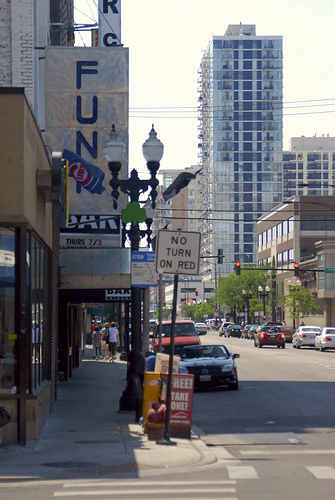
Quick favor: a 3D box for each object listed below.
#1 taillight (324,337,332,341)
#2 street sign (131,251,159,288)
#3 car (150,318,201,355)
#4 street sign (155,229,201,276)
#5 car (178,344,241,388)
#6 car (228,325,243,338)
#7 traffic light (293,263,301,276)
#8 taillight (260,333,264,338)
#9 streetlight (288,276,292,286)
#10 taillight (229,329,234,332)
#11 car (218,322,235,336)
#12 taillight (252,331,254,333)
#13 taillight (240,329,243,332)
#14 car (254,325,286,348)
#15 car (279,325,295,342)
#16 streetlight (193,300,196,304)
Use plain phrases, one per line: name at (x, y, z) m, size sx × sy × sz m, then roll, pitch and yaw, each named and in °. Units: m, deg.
taillight at (7.592, 4.245, 46.463) m, size 0.312 × 0.165 × 0.130 m, roll 1°, pitch -3°, yaw 3°
street sign at (-0.415, 0.331, 16.992) m, size 0.552 × 0.649 × 0.559 m, roll 0°, pitch -3°, yaw 12°
car at (0.380, 2.872, 32.484) m, size 0.995 × 1.015 × 1.759 m, roll 0°, pitch -10°, yaw -6°
street sign at (0.138, 0.023, 13.284) m, size 0.610 × 0.754 × 0.064 m, roll 2°, pitch 32°, yaw -3°
car at (0.948, 2.698, 22.533) m, size 1.138 × 0.815 × 2.427 m, roll -1°, pitch -11°, yaw 1°
car at (5.752, 6.940, 83.277) m, size 1.251 × 0.864 × 3.193 m, roll 1°, pitch -4°, yaw 4°
traffic light at (8.392, 1.290, 63.515) m, size 0.399 × 0.971 × 1.660 m, roll 3°, pitch -8°, yaw 5°
taillight at (5.035, 4.571, 52.169) m, size 0.120 × 0.260 × 0.382 m, roll 1°, pitch -3°, yaw -16°
streetlight at (11.278, 2.888, 90.049) m, size 0.384 × 0.851 × 0.458 m, roll -6°, pitch -41°, yaw 9°
taillight at (5.368, 6.772, 82.229) m, size 0.242 × 0.205 × 0.742 m, roll 0°, pitch -4°, yaw 18°
car at (5.360, 7.242, 90.420) m, size 0.866 × 1.047 × 2.050 m, roll 0°, pitch -8°, yaw -8°
taillight at (6.225, 5.963, 71.418) m, size 0.223 × 0.098 × 0.251 m, roll 1°, pitch -2°, yaw -15°
taillight at (6.240, 6.881, 83.371) m, size 0.117 × 0.150 × 0.130 m, roll -1°, pitch 4°, yaw -14°
car at (5.487, 4.714, 52.746) m, size 1.343 × 1.131 × 2.236 m, roll 1°, pitch -3°, yaw -2°
car at (7.673, 5.307, 63.007) m, size 0.967 × 0.947 × 2.372 m, roll 0°, pitch -1°, yaw 3°
streetlight at (4.561, 8.955, 168.729) m, size 0.309 × 0.776 × 0.696 m, roll 1°, pitch 4°, yaw -4°
